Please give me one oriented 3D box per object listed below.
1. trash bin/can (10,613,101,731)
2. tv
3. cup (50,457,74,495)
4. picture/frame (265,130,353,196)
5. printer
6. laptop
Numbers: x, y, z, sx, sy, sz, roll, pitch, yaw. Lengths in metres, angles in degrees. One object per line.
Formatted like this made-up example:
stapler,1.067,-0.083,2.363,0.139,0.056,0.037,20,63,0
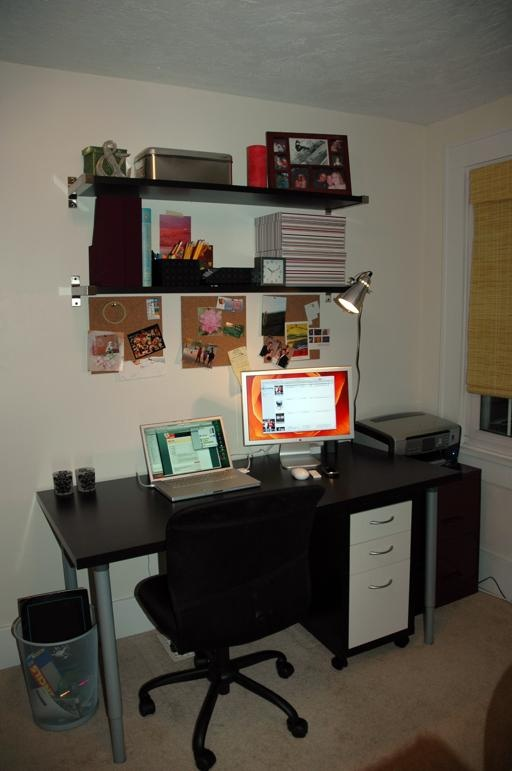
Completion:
trash bin/can,-0.634,0.911,1.969,0.239,0.357,0.232,-2,17,-11
tv,0.169,0.124,2.445,0.365,0.283,0.093,-2,2,-11
cup,-0.701,0.328,2.178,0.089,0.148,0.086,2,14,-1
picture/frame,0.204,-0.887,2.440,0.319,0.241,0.021,0,-8,-22
printer,0.705,0.273,2.801,0.403,0.257,0.289,-6,11,-25
laptop,-0.196,0.244,2.152,0.337,0.211,0.315,-7,8,-33
